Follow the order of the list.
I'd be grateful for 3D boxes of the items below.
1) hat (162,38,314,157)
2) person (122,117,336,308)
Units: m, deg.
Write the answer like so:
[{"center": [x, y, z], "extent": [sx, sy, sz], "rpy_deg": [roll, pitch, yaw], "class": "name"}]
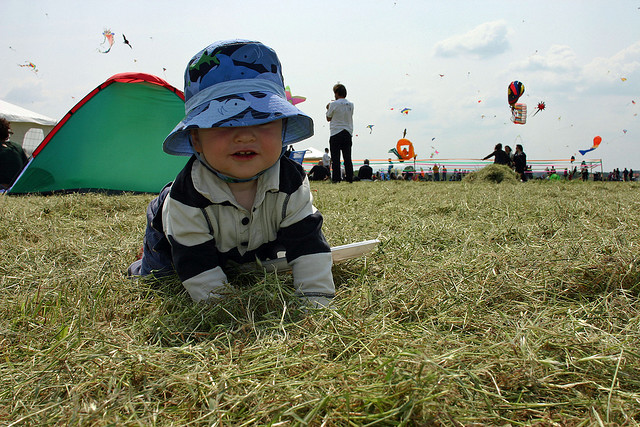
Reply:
[{"center": [-0.447, -0.677, 2.398], "extent": [0.691, 0.448, 0.735], "rpy_deg": [-7, 8, 9], "class": "hat"}, {"center": [-0.458, -0.023, 2.260], "extent": [1.032, 0.876, 0.546], "rpy_deg": [-3, 6, 1], "class": "person"}]
